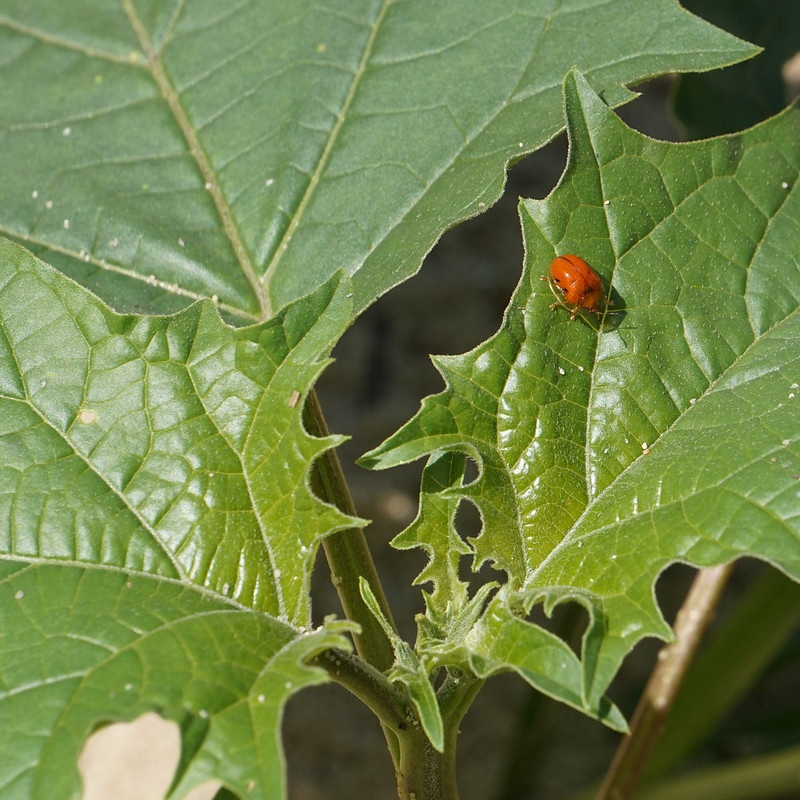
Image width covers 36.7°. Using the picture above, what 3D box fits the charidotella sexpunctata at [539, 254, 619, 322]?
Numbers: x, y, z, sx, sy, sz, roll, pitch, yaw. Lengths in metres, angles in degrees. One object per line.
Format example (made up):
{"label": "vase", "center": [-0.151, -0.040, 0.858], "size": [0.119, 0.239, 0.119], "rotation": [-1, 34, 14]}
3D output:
{"label": "charidotella sexpunctata", "center": [0.269, -0.164, 1.794], "size": [0.088, 0.100, 0.032], "rotation": [-43, 21, -13]}
